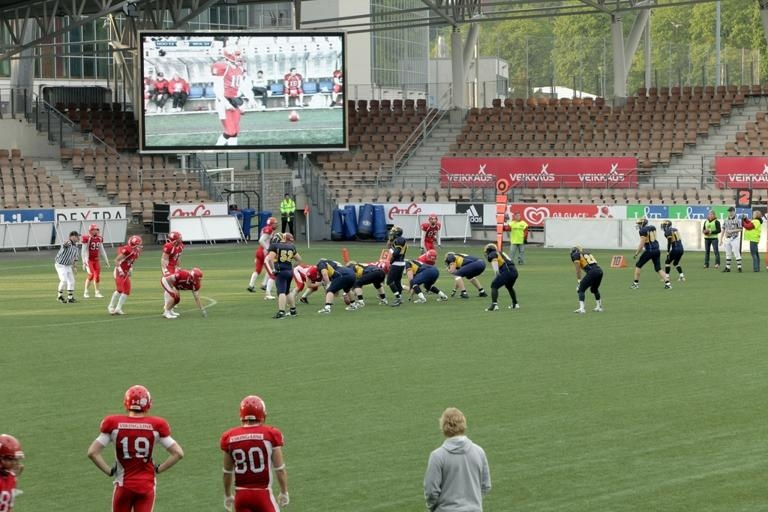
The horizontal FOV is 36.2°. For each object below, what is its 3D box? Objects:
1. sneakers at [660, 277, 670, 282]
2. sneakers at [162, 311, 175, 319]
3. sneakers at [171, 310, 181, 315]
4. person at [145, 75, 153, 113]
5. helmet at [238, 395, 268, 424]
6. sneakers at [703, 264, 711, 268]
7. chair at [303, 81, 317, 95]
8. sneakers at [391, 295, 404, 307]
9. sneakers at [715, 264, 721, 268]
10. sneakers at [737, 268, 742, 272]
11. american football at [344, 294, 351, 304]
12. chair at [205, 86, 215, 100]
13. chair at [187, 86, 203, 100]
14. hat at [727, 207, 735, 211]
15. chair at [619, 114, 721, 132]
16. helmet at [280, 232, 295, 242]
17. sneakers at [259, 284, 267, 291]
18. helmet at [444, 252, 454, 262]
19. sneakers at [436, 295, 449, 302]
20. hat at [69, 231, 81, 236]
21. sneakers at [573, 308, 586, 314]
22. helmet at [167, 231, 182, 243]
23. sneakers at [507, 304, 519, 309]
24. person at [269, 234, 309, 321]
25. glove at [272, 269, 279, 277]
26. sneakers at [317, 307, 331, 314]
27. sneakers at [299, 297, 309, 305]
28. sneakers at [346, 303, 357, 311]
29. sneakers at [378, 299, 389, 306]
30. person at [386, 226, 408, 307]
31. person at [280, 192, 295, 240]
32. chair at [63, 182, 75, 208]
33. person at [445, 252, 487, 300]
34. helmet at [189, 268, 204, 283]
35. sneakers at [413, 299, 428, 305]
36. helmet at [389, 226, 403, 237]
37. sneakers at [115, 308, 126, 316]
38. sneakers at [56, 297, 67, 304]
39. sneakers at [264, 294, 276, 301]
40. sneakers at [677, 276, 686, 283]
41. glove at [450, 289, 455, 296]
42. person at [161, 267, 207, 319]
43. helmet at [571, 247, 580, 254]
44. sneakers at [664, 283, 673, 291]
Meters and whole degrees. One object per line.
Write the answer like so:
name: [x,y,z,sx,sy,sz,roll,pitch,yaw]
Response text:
sneakers: [9.249,0.769,38.529,0.212,0.156,0.524,-1,2,10]
sneakers: [-6.414,1.767,34.857,0.408,0.277,0.153,1,5,0]
sneakers: [-6.352,1.739,35.525,0.378,0.174,0.131,7,17,37]
person: [-10.556,-7.117,52.304,0.461,1.381,0.457,2,-11,-24]
helmet: [-2.628,3.027,23.296,0.440,0.514,0.571,0,3,0]
sneakers: [11.828,0.408,43.033,0.165,0.126,0.156,33,-20,-31]
chair: [-3.384,-7.544,53.012,0.659,0.451,0.495,0,0,-8]
sneakers: [0.364,1.436,36.699,0.179,0.276,0.538,-3,-6,11]
sneakers: [12.217,0.410,43.032,0.107,0.125,0.320,-1,-2,12]
sneakers: [12.676,0.522,41.867,0.156,0.146,0.098,-8,12,-36]
american football: [-1.178,1.351,36.194,0.127,0.393,0.171,-2,15,13]
chair: [-7.862,-7.247,52.508,0.466,0.554,0.507,-4,9,-17]
chair: [-8.448,-7.227,52.433,0.555,0.570,0.530,0,11,-9]
hat: [12.178,-1.569,41.161,0.200,0.209,0.161,-2,17,17]
chair: [13.960,-6.480,57.652,4.366,0.990,1.276,-1,2,16]
helmet: [-2.941,-0.552,35.557,0.383,0.340,0.312,-11,25,-11]
sneakers: [-4.098,1.090,39.495,0.172,0.192,0.197,-10,-36,-3]
helmet: [1.978,0.050,36.552,0.218,0.279,0.280,8,0,32]
sneakers: [1.794,1.318,37.164,0.392,0.267,0.144,7,16,21]
hat: [-10.555,-0.732,39.841,0.295,0.200,0.392,0,-4,-11]
sneakers: [5.777,1.646,34.783,0.142,0.171,0.373,-2,4,-35]
helmet: [-6.832,-0.582,37.978,0.494,0.370,0.399,-5,-26,-7]
sneakers: [3.883,1.555,35.548,0.343,0.143,0.125,1,4,13]
person: [-3.124,0.603,34.784,0.802,2.476,0.984,-7,-8,36]
glove: [-3.212,0.519,34.513,0.130,0.180,0.067,11,3,30]
sneakers: [-1.786,1.643,35.309,0.459,0.280,0.154,3,1,9]
sneakers: [-2.545,1.400,36.813,0.187,0.385,0.126,-25,42,10]
sneakers: [-1.071,1.575,36.043,0.446,0.279,0.153,3,5,36]
sneakers: [-0.065,1.459,36.706,0.338,0.229,0.125,9,12,39]
person: [0.352,0.341,36.636,0.606,2.391,1.282,-2,2,-1]
person: [-4.318,-1.731,51.921,0.666,1.989,0.592,-2,25,-12]
chair: [-14.192,-2.703,52.736,0.590,0.976,1.258,-2,2,-15]
person: [2.530,0.584,37.371,1.357,1.603,1.007,-8,-7,14]
helmet: [-5.521,0.535,34.390,0.405,0.463,0.500,6,43,-11]
sneakers: [1.092,1.454,36.913,0.390,0.168,0.135,5,5,30]
helmet: [0.336,-0.742,36.342,0.370,0.308,0.381,13,-35,11]
sneakers: [-7.985,1.692,35.394,0.310,0.111,0.206,-2,-38,-27]
sneakers: [-10.303,1.402,37.365,0.375,0.257,0.150,2,4,12]
sneakers: [-3.701,1.350,37.697,0.289,0.124,0.132,0,9,-2]
sneakers: [10.172,0.782,39.977,0.133,0.295,0.305,-3,11,-9]
glove: [2.196,1.217,38.181,0.104,0.081,0.202,-37,5,4]
person: [-6.055,1.116,35.056,1.173,1.452,2.073,-2,2,-10]
helmet: [5.614,-0.157,34.428,0.179,0.189,0.170,2,-20,9]
sneakers: [9.309,1.011,38.496,0.187,0.245,0.214,-3,22,19]
